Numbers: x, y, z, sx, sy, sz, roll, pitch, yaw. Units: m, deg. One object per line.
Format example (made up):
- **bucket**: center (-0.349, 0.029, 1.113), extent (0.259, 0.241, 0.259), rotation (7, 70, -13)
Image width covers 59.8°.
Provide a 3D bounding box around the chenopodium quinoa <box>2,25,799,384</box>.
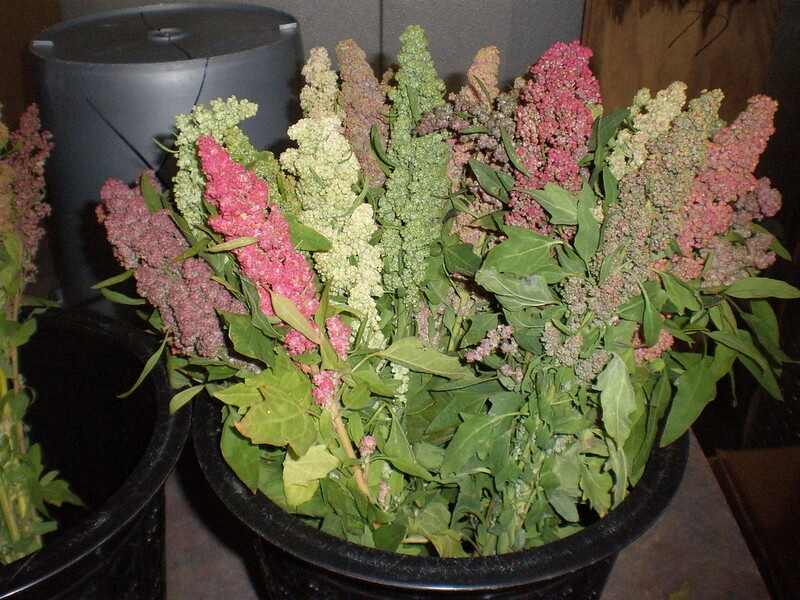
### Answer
- **chenopodium quinoa**: center (0.075, -0.165, 1.195), extent (0.880, 0.412, 0.528), rotation (7, 47, 9)
